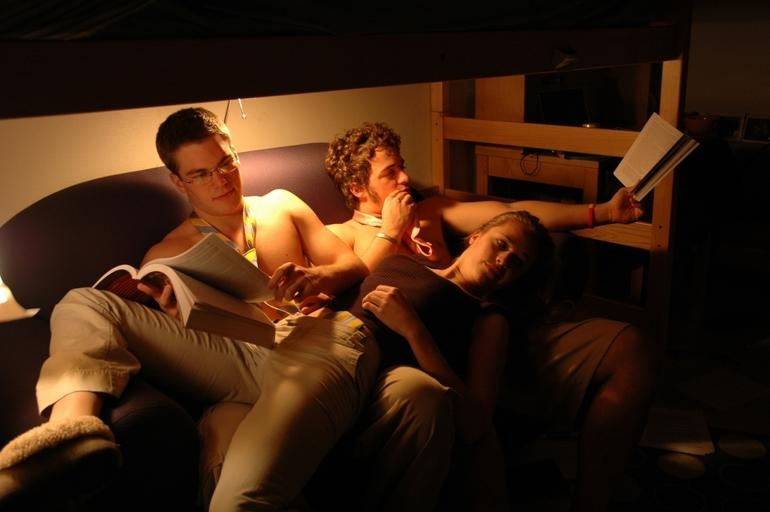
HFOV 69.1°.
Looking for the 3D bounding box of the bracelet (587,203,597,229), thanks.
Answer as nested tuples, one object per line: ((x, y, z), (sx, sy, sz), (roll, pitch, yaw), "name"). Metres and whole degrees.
((0.710, -0.137, 1.923), (0.014, 0.061, 0.060), (3, 10, 12), "bracelet")

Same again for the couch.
((-0.297, 0.222, 1.607), (1.083, 0.777, 0.690), (7, -4, -42), "couch")

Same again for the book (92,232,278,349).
((-0.460, 0.092, 1.470), (0.443, 0.232, 0.313), (19, -14, 25), "book")

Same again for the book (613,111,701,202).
((0.835, -0.282, 1.805), (0.063, 0.266, 0.268), (27, 39, -15), "book")

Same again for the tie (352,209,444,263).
((0.015, -0.068, 1.980), (0.361, 0.113, 0.105), (20, -7, 20), "tie")
